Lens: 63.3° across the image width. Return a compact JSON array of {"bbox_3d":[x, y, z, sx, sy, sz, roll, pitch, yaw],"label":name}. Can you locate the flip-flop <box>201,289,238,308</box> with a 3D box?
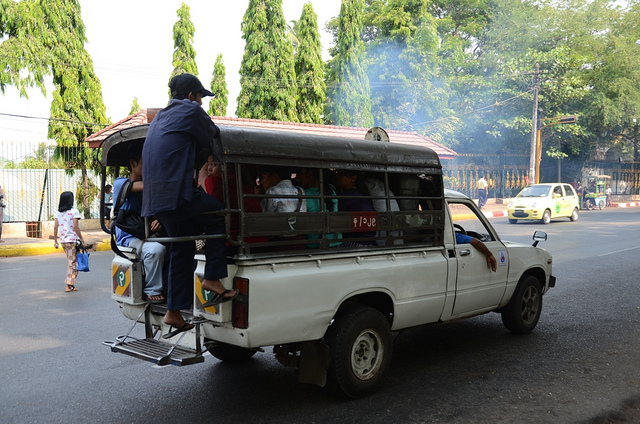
[{"bbox_3d":[-1.115,0.966,5.683,0.426,0.100,0.163,-20,18,19],"label":"flip-flop"}]

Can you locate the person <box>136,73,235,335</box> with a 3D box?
[{"bbox_3d":[-1.601,-0.081,6.079,1.263,2.914,1.083,-4,3,-42],"label":"person"}]

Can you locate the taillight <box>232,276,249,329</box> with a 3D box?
[{"bbox_3d":[-0.873,0.991,5.673,0.230,0.539,0.101,4,10,28],"label":"taillight"}]

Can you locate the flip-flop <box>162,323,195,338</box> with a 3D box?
[{"bbox_3d":[-1.644,1.366,5.983,0.440,0.224,0.085,4,10,30],"label":"flip-flop"}]

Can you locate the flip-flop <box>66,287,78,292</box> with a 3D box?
[{"bbox_3d":[-5.143,1.598,10.706,0.251,0.075,0.094,-2,6,-42],"label":"flip-flop"}]

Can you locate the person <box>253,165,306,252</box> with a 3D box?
[{"bbox_3d":[-0.528,-0.059,6.476,0.680,1.149,0.521,3,17,22],"label":"person"}]

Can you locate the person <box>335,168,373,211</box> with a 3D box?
[{"bbox_3d":[0.456,-0.272,6.976,0.469,0.858,0.669,-2,-17,2],"label":"person"}]

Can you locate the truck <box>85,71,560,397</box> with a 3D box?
[{"bbox_3d":[0.615,0.272,8.209,7.037,3.586,3.048,-5,6,-42],"label":"truck"}]

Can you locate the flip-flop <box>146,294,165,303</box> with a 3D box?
[{"bbox_3d":[-2.006,1.050,6.300,0.257,0.102,0.059,3,9,21],"label":"flip-flop"}]
